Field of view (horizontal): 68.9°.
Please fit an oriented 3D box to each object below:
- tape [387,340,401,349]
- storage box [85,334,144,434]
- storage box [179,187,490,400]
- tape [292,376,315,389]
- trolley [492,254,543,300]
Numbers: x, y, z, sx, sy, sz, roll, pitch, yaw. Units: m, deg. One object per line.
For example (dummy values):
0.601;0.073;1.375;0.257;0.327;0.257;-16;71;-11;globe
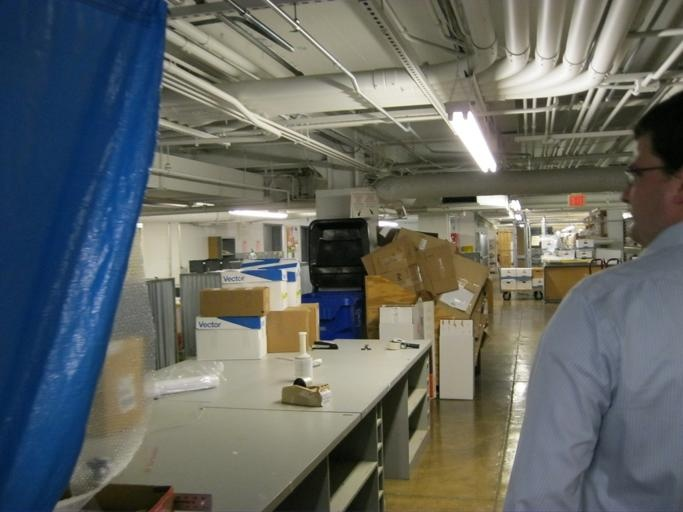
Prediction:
0.404;0.685;3.886;0.076;0.041;0.073;4;-6;-32;tape
-0.628;0.366;1.412;0.063;0.220;0.259;-4;-11;39;storage box
0.507;0.421;6.326;2.508;1.441;2.502;-1;-2;12;storage box
-0.206;0.670;2.682;0.068;0.067;0.066;-2;4;15;tape
5.224;0.774;14.650;1.390;0.880;0.772;-1;0;-5;trolley
